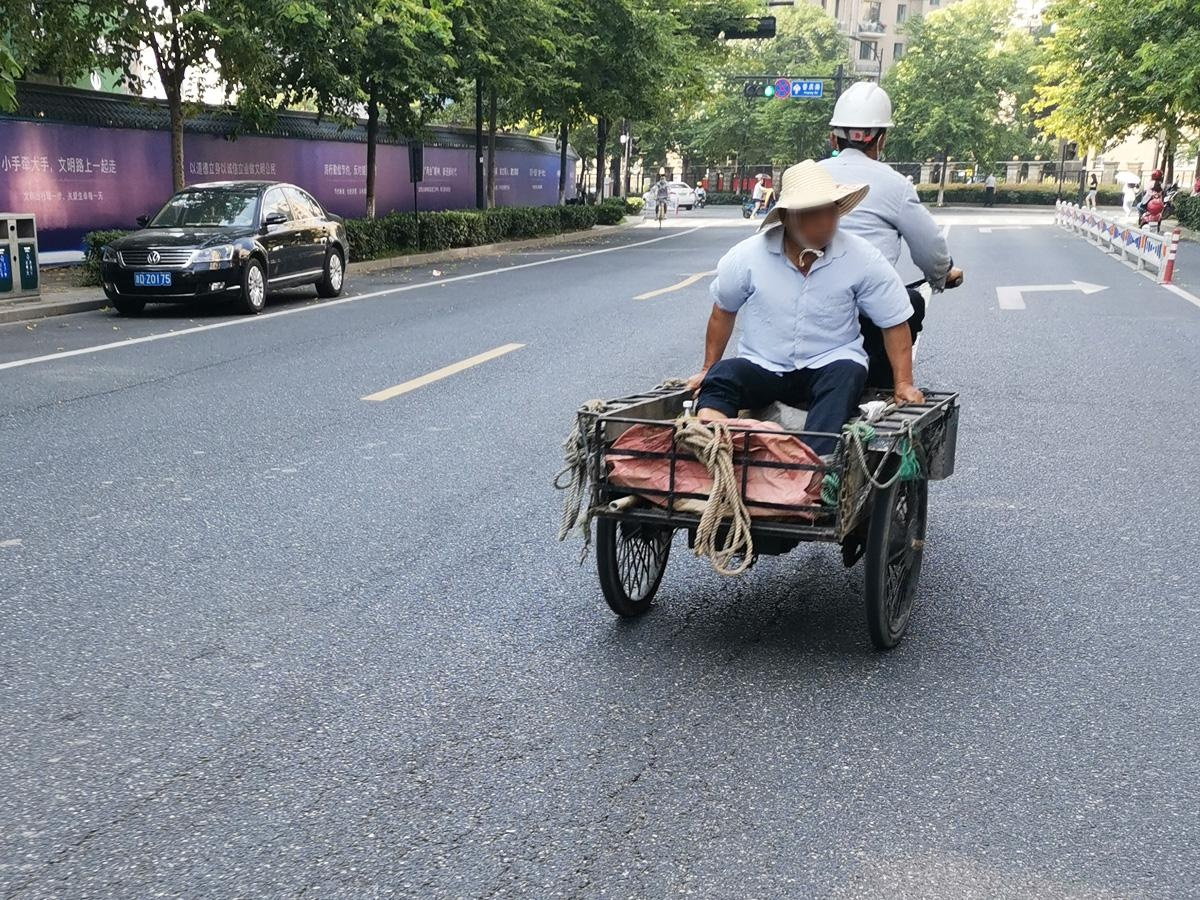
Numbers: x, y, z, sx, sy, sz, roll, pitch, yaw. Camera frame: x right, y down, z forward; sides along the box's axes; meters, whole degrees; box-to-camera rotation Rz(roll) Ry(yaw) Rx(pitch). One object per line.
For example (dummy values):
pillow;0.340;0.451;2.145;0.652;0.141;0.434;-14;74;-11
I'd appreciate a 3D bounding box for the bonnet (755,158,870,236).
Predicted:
bonnet;0.947;-1.133;4.597;0.366;0.299;0.562;14;20;43

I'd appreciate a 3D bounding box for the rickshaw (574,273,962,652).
rickshaw;0.554;0.147;4.734;1.106;0.813;1.648;-1;11;22

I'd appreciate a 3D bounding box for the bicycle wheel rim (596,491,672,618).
bicycle wheel rim;0.138;0.454;4.449;0.072;0.547;0.494;4;8;32

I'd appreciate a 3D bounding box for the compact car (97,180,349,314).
compact car;-5.065;-2.872;14.609;1.680;1.514;3.653;4;11;19

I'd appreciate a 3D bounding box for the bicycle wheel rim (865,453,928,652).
bicycle wheel rim;1.219;0.420;4.241;0.175;0.718;0.647;5;-5;31

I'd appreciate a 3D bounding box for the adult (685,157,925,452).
adult;0.919;-0.617;4.931;1.120;1.578;1.171;3;4;6

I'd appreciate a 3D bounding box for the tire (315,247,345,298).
tire;-4.170;-2.713;15.740;0.238;0.802;0.732;-1;5;18

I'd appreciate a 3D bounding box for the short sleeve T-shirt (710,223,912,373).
short sleeve T-shirt;0.964;-0.765;4.705;0.906;0.712;0.486;3;44;10
